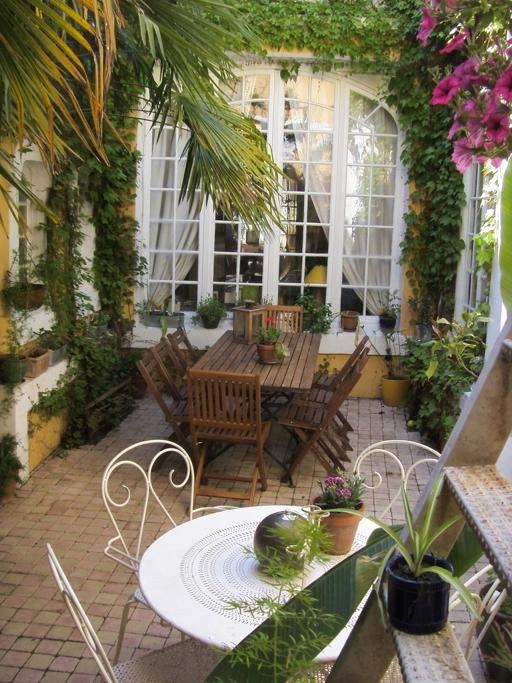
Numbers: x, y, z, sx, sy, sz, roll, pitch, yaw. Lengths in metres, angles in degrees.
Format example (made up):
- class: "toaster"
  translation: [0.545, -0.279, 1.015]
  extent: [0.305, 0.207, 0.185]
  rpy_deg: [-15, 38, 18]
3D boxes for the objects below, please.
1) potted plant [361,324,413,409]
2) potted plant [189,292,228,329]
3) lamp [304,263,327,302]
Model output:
- class: "potted plant"
  translation: [1.672, 0.319, 6.855]
  extent: [0.847, 0.990, 0.440]
  rpy_deg: [-16, 17, -43]
- class: "potted plant"
  translation: [-0.640, -0.366, 7.150]
  extent: [0.391, 0.488, 0.476]
  rpy_deg: [0, 17, -1]
- class: "lamp"
  translation: [0.819, -0.804, 7.336]
  extent: [0.415, 0.429, 0.409]
  rpy_deg: [-2, 18, -14]
